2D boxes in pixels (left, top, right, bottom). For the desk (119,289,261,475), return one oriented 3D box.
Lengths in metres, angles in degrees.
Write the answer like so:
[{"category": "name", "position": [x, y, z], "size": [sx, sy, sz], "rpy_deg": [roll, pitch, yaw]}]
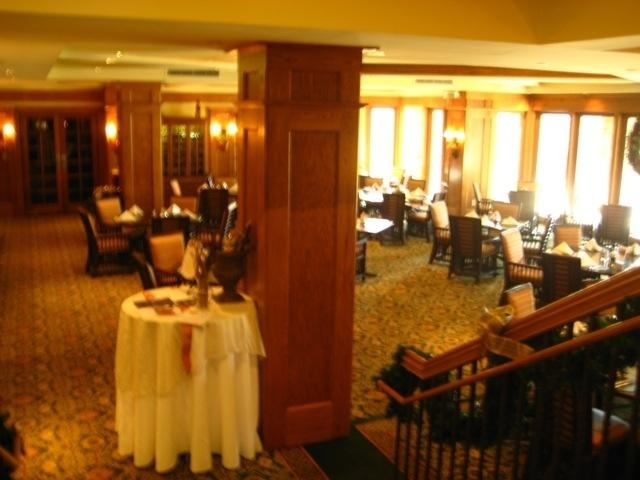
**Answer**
[{"category": "desk", "position": [-1.090, 1.193, 4.240], "size": [1.243, 1.268, 0.652], "rpy_deg": [-2, 12, -10]}]
